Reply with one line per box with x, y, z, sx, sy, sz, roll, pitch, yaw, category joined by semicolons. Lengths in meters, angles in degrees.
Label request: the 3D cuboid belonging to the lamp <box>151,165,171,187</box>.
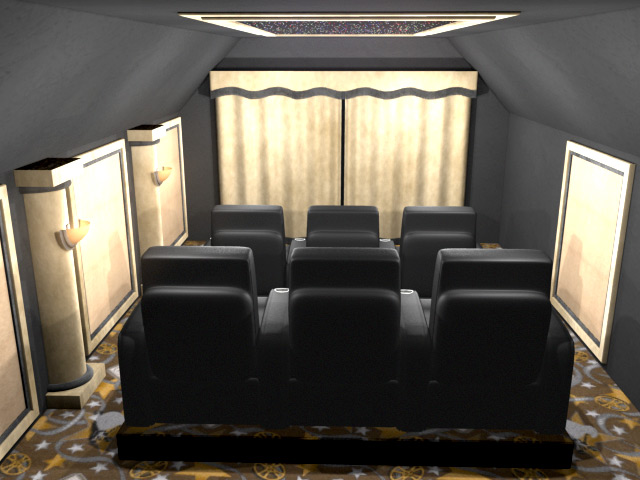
-1.798;-0.726;5.655;0.147;0.139;0.360;1;13;2;lamp

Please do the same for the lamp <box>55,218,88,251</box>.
-1.860;-0.037;3.871;0.211;0.211;0.350;-1;11;-4;lamp
